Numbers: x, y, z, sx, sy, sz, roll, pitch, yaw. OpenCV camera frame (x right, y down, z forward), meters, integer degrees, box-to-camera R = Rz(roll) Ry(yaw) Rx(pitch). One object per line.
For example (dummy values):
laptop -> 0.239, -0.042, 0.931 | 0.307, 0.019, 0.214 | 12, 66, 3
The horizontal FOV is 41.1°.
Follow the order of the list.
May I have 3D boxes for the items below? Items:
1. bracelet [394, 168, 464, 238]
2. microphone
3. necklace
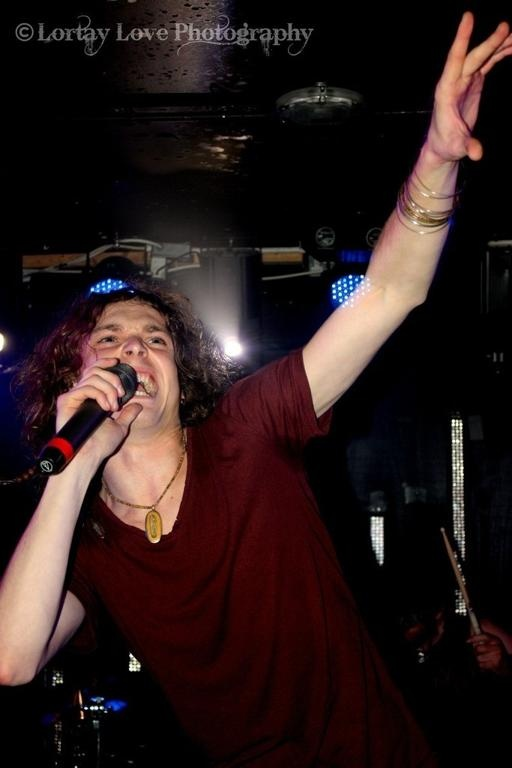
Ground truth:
bracelet -> 0.335, -0.352, 1.356 | 0.118, 0.112, 0.115 | -1, -9, 0
microphone -> -0.303, 0.081, 1.457 | 0.094, 0.094, 0.360 | -25, 16, 35
necklace -> -0.274, 0.254, 1.686 | 0.260, 0.291, 0.027 | -20, -34, 7
